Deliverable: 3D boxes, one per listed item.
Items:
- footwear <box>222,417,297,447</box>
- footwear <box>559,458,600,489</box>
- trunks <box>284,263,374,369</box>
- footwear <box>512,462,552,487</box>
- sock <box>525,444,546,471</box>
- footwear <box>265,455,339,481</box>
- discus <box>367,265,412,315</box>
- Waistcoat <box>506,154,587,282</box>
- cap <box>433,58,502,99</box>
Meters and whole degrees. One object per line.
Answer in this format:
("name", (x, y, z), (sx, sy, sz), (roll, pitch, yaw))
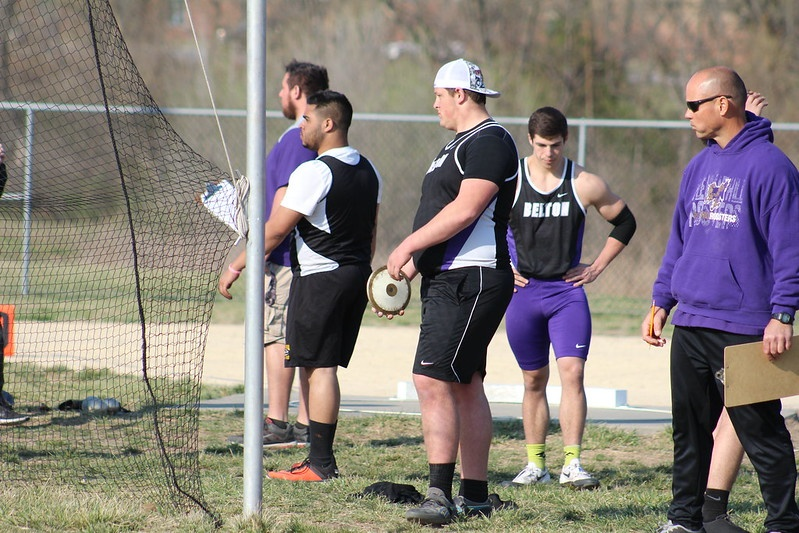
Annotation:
("footwear", (-1.615, 1.932, 18.347), (0.902, 0.417, 0.328), (2, -3, -7))
("footwear", (1.970, 2.321, 17.570), (0.208, 0.240, 0.512), (3, -5, -32))
("trunks", (-0.800, 0.477, 17.813), (0.752, 1.275, 0.948), (13, 19, 36))
("footwear", (1.475, 2.305, 17.661), (0.446, 0.183, 0.327), (0, 1, -1))
("sock", (1.529, 2.105, 17.697), (0.193, 0.340, 0.251), (2, -9, -18))
("footwear", (-1.099, 2.230, 17.561), (0.786, 0.269, 0.287), (2, -10, -1))
("discus", (-0.131, 0.300, 17.045), (0.486, 0.485, 0.122), (-42, 8, -11))
("Waistcoat", (1.699, -0.531, 18.204), (0.982, 1.365, 0.737), (1, -4, 12))
("cap", (0.715, -1.980, 16.981), (0.725, 0.364, 0.483), (4, -8, -2))
